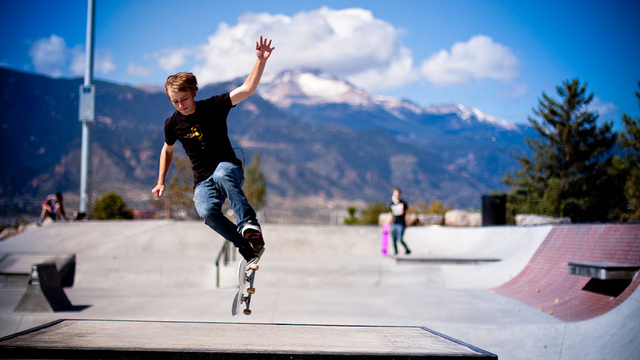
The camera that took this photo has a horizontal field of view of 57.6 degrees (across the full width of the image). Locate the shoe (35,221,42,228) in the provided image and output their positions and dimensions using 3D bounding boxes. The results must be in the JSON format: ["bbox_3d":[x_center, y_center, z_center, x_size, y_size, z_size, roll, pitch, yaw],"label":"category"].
[{"bbox_3d":[-14.415,2.295,29.851,0.322,0.309,0.511,-5,14,-27],"label":"shoe"}]

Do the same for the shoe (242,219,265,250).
[{"bbox_3d":[-2.339,1.827,20.191,0.512,1.188,0.557,-18,17,-2],"label":"shoe"}]
